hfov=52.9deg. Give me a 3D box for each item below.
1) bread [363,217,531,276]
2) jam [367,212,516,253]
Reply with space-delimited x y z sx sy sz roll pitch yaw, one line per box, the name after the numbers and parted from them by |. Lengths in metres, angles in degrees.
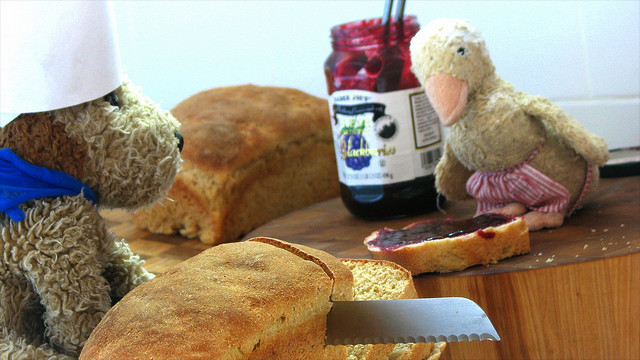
0.250 0.109 1.154 0.280 0.068 0.149 -17 7 34 | bread
0.209 0.069 1.251 0.308 0.062 0.202 -8 6 -6 | jam
